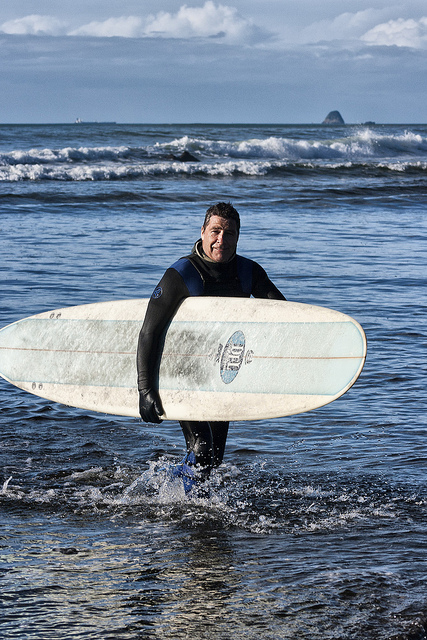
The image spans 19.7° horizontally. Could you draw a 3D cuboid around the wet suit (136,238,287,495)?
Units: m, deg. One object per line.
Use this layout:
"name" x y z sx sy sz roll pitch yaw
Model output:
"wet suit" -0.043 0.246 6.326 0.718 1.347 0.465 -1 13 -5
